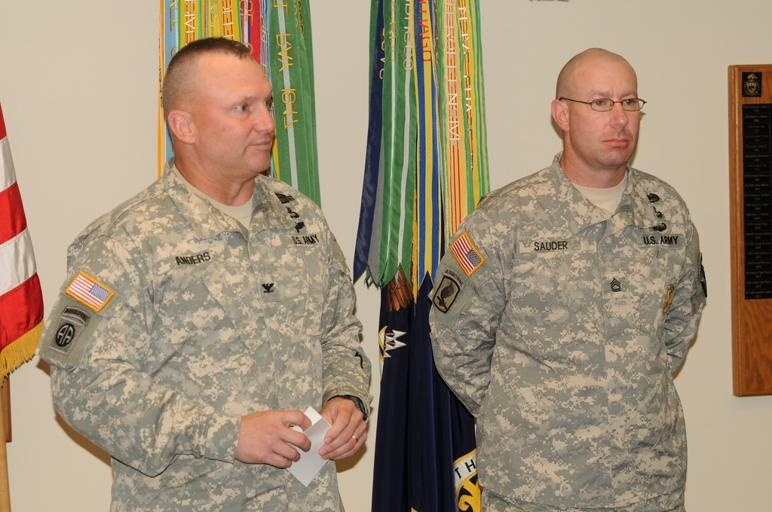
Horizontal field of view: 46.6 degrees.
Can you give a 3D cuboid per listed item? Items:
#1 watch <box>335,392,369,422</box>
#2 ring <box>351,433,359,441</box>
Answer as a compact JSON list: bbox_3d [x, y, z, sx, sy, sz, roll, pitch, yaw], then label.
[{"bbox_3d":[-0.110,0.557,3.325,0.090,0.110,0.042,8,-23,-34],"label":"watch"},{"bbox_3d":[-0.115,0.666,3.276,0.017,0.021,0.022,-1,5,-20],"label":"ring"}]
